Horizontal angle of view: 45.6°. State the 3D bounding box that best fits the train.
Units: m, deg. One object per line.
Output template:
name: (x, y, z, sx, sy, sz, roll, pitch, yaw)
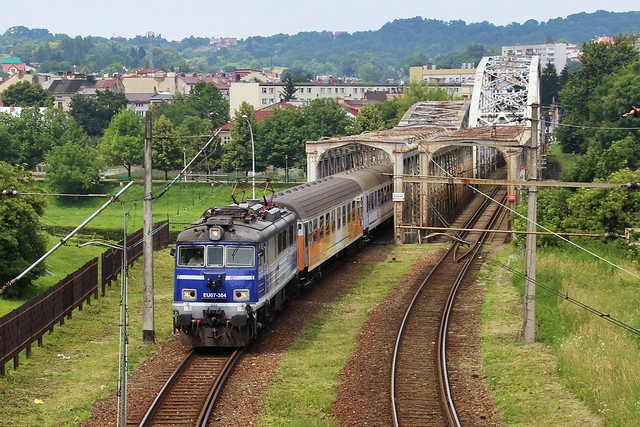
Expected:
train: (-1.975, 1.558, 37.125, 4.239, 4.368, 25.658, 0, 5, 13)
